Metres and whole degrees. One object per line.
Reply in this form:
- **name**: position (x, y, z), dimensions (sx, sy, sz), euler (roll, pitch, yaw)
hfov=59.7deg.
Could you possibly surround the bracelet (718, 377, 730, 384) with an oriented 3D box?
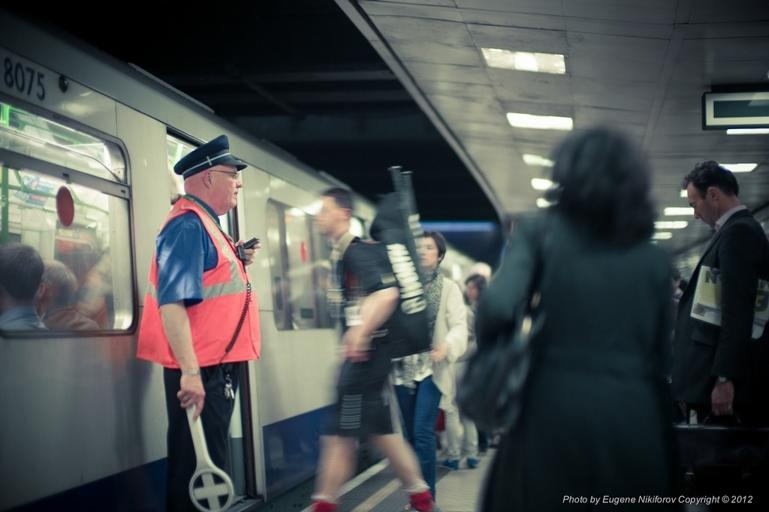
- **bracelet**: position (2.065, 0.763, 4.064), dimensions (0.059, 0.058, 0.045), euler (1, 24, 10)

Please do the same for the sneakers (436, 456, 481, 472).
- **sneakers**: position (0.790, 2.186, 7.008), dimensions (0.456, 0.171, 0.146), euler (4, -7, -9)

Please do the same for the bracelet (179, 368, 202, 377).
- **bracelet**: position (-1.189, 0.703, 4.053), dimensions (0.093, 0.057, 0.094), euler (2, -5, -9)

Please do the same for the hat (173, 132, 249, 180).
- **hat**: position (-1.205, -0.649, 4.512), dimensions (0.504, 0.213, 0.377), euler (-19, 2, -17)

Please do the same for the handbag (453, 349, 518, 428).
- **handbag**: position (0.386, 0.502, 2.690), dimensions (0.239, 0.307, 0.134), euler (17, 2, -20)

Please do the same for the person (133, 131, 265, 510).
- **person**: position (-1.159, 0.383, 4.273), dimensions (0.729, 2.412, 0.448), euler (2, -8, -19)

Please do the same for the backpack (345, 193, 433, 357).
- **backpack**: position (-0.004, 0.156, 4.795), dimensions (0.679, 1.109, 0.430), euler (-4, 0, 33)
